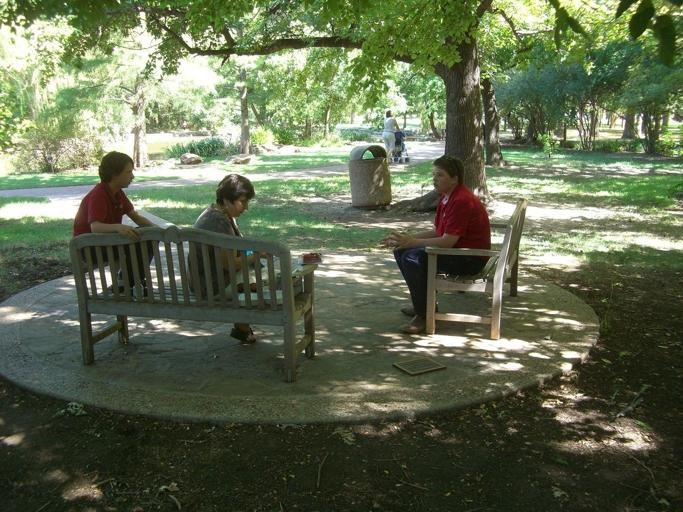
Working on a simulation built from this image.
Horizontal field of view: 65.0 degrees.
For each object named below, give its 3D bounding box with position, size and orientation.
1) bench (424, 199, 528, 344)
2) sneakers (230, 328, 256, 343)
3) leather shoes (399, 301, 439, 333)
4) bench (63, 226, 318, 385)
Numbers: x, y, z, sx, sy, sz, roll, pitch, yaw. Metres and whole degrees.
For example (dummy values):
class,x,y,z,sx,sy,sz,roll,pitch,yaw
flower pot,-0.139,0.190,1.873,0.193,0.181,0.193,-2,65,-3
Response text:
class,x,y,z,sx,sy,sz,roll,pitch,yaw
bench,1.542,0.236,6.154,1.108,0.990,2.289,3,8,20
sneakers,-1.040,0.841,5.688,0.260,0.094,0.157,5,-5,6
leather shoes,0.858,0.736,6.147,0.230,0.232,0.683,-5,-3,38
bench,-1.470,0.528,5.146,2.011,0.854,0.631,2,15,10
